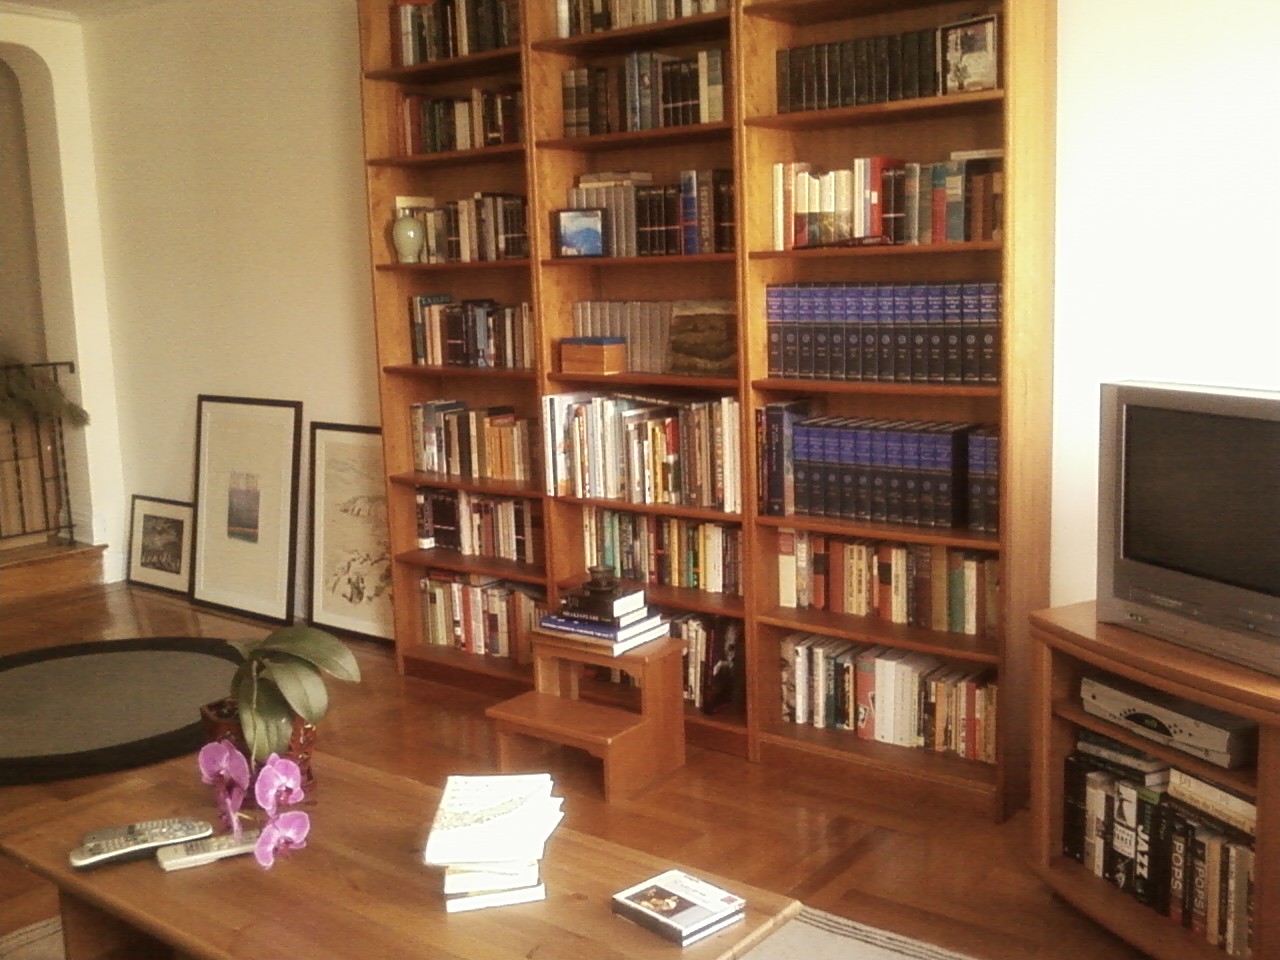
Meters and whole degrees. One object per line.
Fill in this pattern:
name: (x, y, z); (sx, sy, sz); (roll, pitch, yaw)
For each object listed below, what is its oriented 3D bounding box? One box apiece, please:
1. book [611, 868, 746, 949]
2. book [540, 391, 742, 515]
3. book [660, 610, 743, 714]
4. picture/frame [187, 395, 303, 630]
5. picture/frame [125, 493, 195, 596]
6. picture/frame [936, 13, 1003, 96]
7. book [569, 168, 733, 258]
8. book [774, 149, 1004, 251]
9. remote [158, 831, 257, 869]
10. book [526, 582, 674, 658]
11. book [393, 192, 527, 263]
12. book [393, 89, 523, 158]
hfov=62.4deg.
book: (0.090, 0.927, 2.284); (0.200, 0.045, 0.212); (-11, 15, -43)
book: (0.034, -0.128, 4.176); (0.835, 0.427, 0.219); (5, 14, 26)
book: (0.282, 0.718, 4.399); (0.395, 0.472, 0.392); (1, 5, 19)
picture/frame: (-2.184, 0.130, 5.827); (0.957, 1.157, 0.344); (9, 16, 40)
picture/frame: (-2.871, 0.396, 6.356); (0.661, 0.544, 0.028); (6, 5, 34)
picture/frame: (1.037, -1.349, 3.346); (0.207, 0.221, 0.085); (4, 14, 21)
book: (0.060, -1.039, 4.093); (0.711, 0.320, 0.207); (9, 16, 40)
book: (0.840, -0.954, 3.604); (0.836, 0.294, 0.151); (7, 15, 36)
remote: (-1.038, 0.891, 2.525); (0.184, 0.030, 0.040); (-8, 21, -35)
book: (-0.068, 0.487, 3.959); (0.332, 0.133, 0.331); (6, 8, 37)
book: (-0.765, -1.090, 4.568); (0.663, 0.271, 0.113); (5, 14, 26)
book: (-0.776, -1.539, 4.550); (0.230, 0.276, 0.623); (-12, 16, -42)
